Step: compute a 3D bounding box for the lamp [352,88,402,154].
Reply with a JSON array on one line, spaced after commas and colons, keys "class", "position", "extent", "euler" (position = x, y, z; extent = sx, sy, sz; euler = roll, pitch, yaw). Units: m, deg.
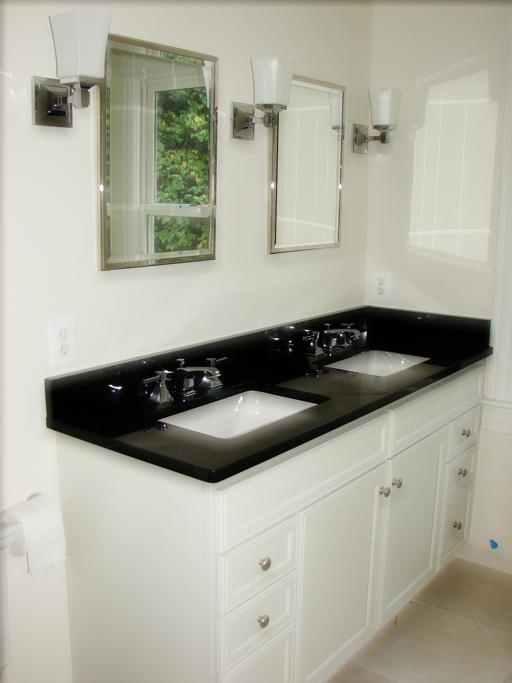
[{"class": "lamp", "position": [0.489, -0.871, 2.279], "extent": [0.182, 0.225, 0.246], "euler": [7, 12, 23]}]

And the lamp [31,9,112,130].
[{"class": "lamp", "position": [-0.372, -0.536, 1.147], "extent": [0.173, 0.197, 0.124], "euler": [13, 15, 44]}]

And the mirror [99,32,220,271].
[{"class": "mirror", "position": [-0.239, -0.476, 1.470], "extent": [0.025, 0.567, 0.415], "euler": [9, 13, 33]}]

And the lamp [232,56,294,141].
[{"class": "lamp", "position": [0.021, -0.692, 1.646], "extent": [0.161, 0.208, 0.114], "euler": [11, 16, 34]}]
